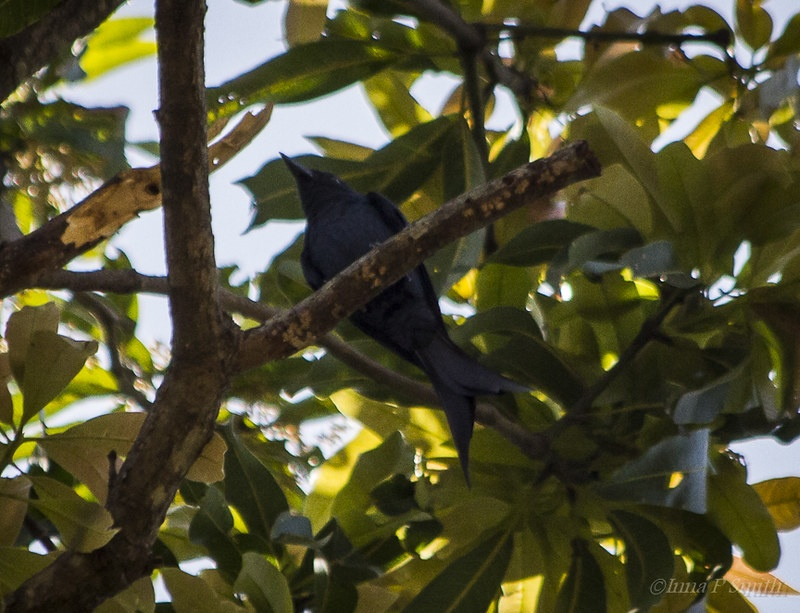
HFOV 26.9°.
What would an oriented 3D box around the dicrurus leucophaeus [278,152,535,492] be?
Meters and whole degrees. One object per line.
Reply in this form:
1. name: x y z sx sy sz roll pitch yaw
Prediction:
1. dicrurus leucophaeus: 0.003 -0.002 2.922 0.543 0.782 0.250 0 -55 15
